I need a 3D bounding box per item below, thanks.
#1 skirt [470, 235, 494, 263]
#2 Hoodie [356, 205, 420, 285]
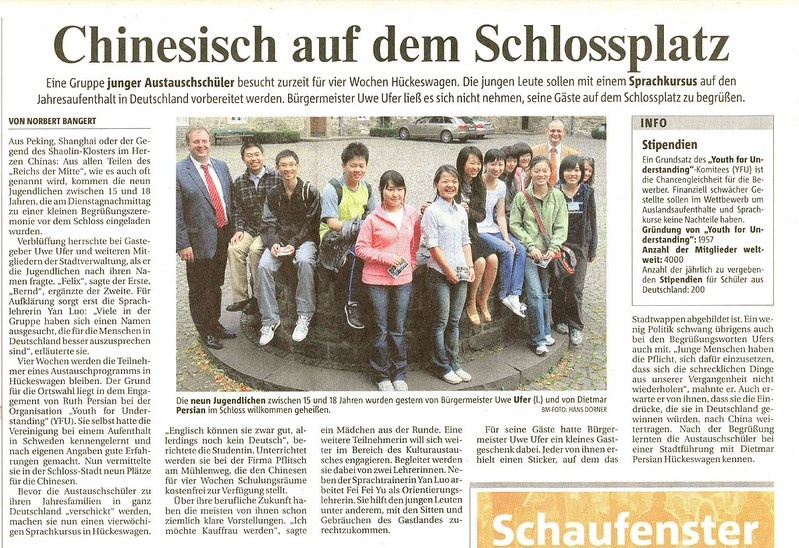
[{"bbox_3d":[0.671,-0.193,6.262,0.195,0.198,0.072,-4,-15,-25],"label":"skirt"},{"bbox_3d":[-0.077,-0.216,5.895,0.612,0.747,0.425,0,1,-22],"label":"Hoodie"}]
